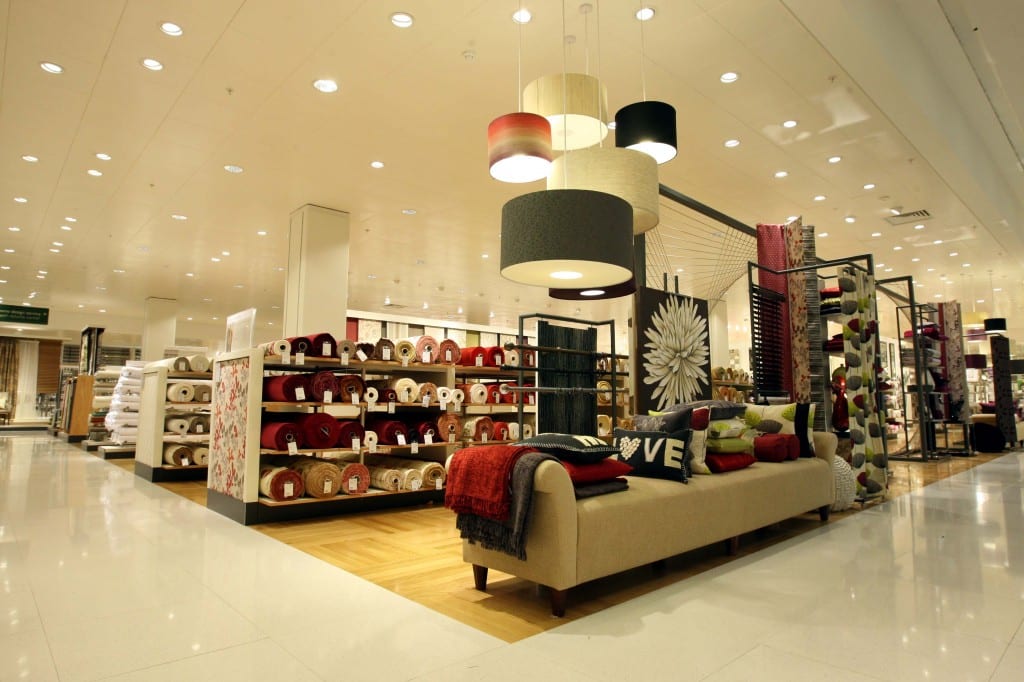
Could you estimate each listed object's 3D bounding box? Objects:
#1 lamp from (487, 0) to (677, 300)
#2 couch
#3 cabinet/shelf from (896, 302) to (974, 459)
[{"bbox_3d":[0.572,-1.282,5.207,1.186,1.907,1.751,3,8,24],"label":"lamp"},{"bbox_3d":[1.584,1.344,5.675,4.184,1.204,0.920,-5,9,-35],"label":"couch"},{"bbox_3d":[8.554,0.833,12.601,0.852,3.080,3.647,-8,-11,41],"label":"cabinet/shelf"}]
